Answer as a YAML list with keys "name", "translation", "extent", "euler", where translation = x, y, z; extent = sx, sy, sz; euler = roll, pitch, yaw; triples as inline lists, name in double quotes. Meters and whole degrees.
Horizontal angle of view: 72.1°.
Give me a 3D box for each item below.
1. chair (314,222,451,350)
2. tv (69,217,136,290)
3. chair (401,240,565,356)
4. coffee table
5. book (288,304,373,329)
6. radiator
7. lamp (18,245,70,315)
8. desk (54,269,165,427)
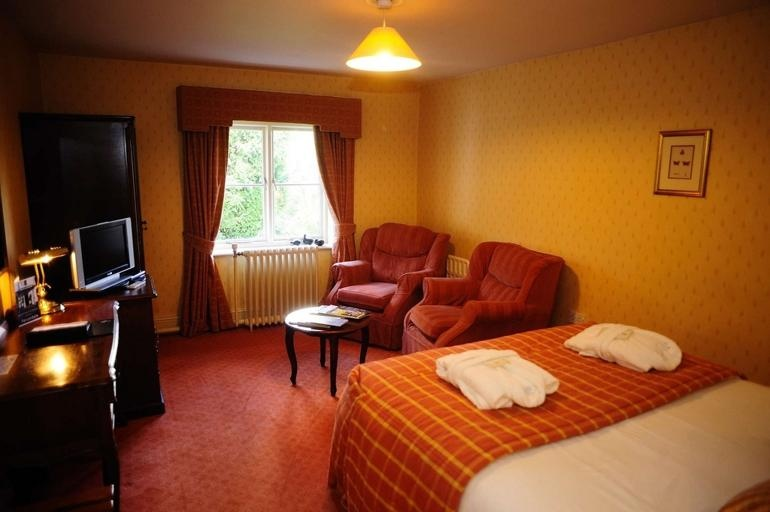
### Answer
- name: "chair"
  translation: [0.001, 0.306, 6.336]
  extent: [1.234, 1.277, 1.154]
  euler: [9, 12, 43]
- name: "tv"
  translation: [-2.526, -0.018, 4.747]
  extent: [0.222, 0.554, 0.734]
  euler: [2, 12, 10]
- name: "chair"
  translation: [0.934, 0.575, 5.478]
  extent: [1.367, 1.308, 1.115]
  euler: [-4, 12, -27]
- name: "coffee table"
  translation: [-0.572, 0.902, 5.191]
  extent: [0.732, 0.703, 0.738]
  euler: [-2, 12, -16]
- name: "book"
  translation: [-0.553, 0.592, 5.067]
  extent: [0.607, 0.088, 0.613]
  euler: [8, 11, 32]
- name: "radiator"
  translation: [-1.333, 0.361, 6.618]
  extent: [0.140, 0.956, 1.006]
  euler: [5, 6, 38]
- name: "lamp"
  translation: [-2.736, 0.203, 4.241]
  extent: [0.320, 0.509, 0.390]
  euler: [8, 12, 25]
- name: "desk"
  translation: [-2.153, 0.735, 4.114]
  extent: [0.449, 1.066, 1.091]
  euler: [-5, 11, -24]
